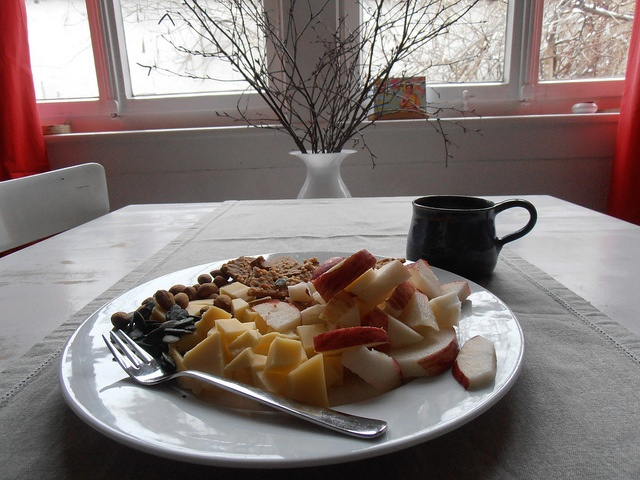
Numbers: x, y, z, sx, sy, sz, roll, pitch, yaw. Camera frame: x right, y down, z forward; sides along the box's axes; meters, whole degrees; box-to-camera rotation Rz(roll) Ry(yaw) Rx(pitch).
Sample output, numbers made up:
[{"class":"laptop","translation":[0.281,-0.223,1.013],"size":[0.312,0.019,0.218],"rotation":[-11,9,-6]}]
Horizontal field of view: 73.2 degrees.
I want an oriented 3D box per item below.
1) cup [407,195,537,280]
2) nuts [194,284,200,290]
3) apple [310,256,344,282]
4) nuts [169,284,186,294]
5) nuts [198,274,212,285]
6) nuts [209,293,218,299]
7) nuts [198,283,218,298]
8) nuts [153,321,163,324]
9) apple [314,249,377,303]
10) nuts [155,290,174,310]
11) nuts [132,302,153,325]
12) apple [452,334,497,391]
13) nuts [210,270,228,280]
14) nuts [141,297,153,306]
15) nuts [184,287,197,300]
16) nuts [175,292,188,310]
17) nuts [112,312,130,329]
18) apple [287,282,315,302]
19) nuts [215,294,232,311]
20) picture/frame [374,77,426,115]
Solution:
[{"class":"cup","translation":[0.261,-0.047,0.821],"size":[0.271,0.149,0.201],"rotation":[1,18,10]},{"class":"nuts","translation":[-0.178,0.068,0.622],"size":[0.007,0.005,0.007],"rotation":[1,3,-13]},{"class":"apple","translation":[0.015,0.035,0.592],"size":[0.045,0.015,0.025],"rotation":[-39,0,-13]},{"class":"nuts","translation":[-0.197,0.068,0.597],"size":[0.016,0.009,0.013],"rotation":[-3,10,29]},{"class":"nuts","translation":[-0.171,0.059,0.643],"size":[0.015,0.008,0.015],"rotation":[13,30,23]},{"class":"nuts","translation":[-0.152,0.079,0.610],"size":[0.009,0.009,0.008],"rotation":[0,11,-12]},{"class":"nuts","translation":[-0.159,0.072,0.616],"size":[0.024,0.019,0.017],"rotation":[-8,7,-32]},{"class":"nuts","translation":[-0.198,0.100,0.521],"size":[0.004,0.002,0.006],"rotation":[5,4,37]},{"class":"apple","translation":[0.029,0.041,0.555],"size":[0.091,0.054,0.061],"rotation":[-4,9,-26]},{"class":"nuts","translation":[-0.197,0.077,0.551],"size":[0.020,0.016,0.027],"rotation":[-26,41,-32]},{"class":"nuts","translation":[-0.221,0.092,0.533],"size":[0.012,0.012,0.031],"rotation":[5,13,-13]},{"class":"apple","translation":[0.161,0.124,0.440],"size":[0.040,0.015,0.075],"rotation":[-4,21,30]},{"class":"nuts","translation":[-0.157,0.053,0.664],"size":[0.016,0.011,0.017],"rotation":[-1,2,-5]},{"class":"nuts","translation":[-0.224,0.079,0.560],"size":[0.012,0.006,0.012],"rotation":[1,10,4]},{"class":"nuts","translation":[-0.179,0.074,0.601],"size":[0.018,0.018,0.014],"rotation":[2,12,43]},{"class":"nuts","translation":[-0.181,0.080,0.568],"size":[0.018,0.009,0.017],"rotation":[16,30,-36]},{"class":"nuts","translation":[-0.240,0.097,0.524],"size":[0.018,0.014,0.019],"rotation":[5,6,9]},{"class":"apple","translation":[-0.023,0.071,0.576],"size":[0.029,0.021,0.027],"rotation":[0,14,2]},{"class":"nuts","translation":[-0.125,0.082,0.563],"size":[0.016,0.022,0.017],"rotation":[-24,36,48]},{"class":"picture/frame","translation":[0.394,-0.677,2.044],"size":[0.250,0.186,0.017],"rotation":[-4,10,-1]}]
